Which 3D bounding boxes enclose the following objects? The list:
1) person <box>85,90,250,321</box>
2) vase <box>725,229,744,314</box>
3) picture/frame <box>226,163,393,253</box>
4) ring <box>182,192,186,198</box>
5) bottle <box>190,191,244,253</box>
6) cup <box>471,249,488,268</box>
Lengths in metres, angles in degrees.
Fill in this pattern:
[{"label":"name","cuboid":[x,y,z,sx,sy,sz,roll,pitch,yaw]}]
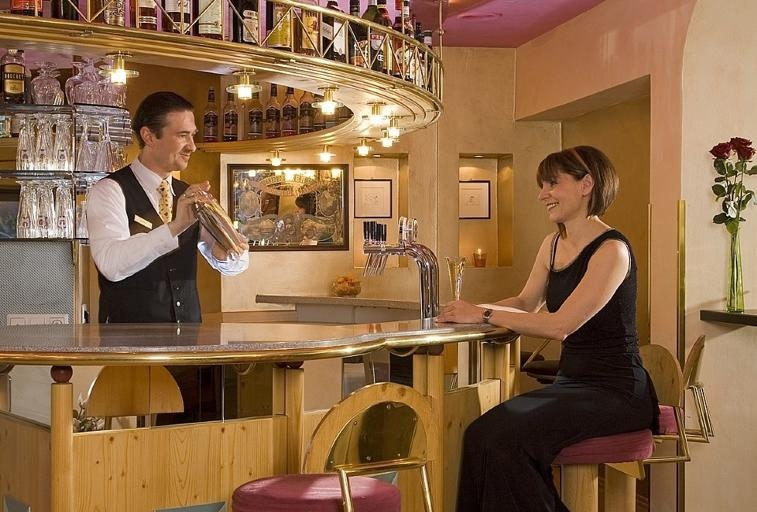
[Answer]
[{"label":"person","cuboid":[-0.963,-0.237,3.157,0.708,1.121,0.529,1,1,28]},{"label":"vase","cuboid":[2.318,0.087,4.326,0.090,0.543,0.153,1,1,28]},{"label":"picture/frame","cuboid":[-0.675,-0.422,5.930,0.945,0.661,0.079,1,-2,-7]},{"label":"ring","cuboid":[-0.807,-0.256,2.799,0.015,0.021,0.006,1,1,-27]},{"label":"bottle","cuboid":[-0.668,-0.135,2.780,0.182,0.257,0.281,0,1,-22]},{"label":"cup","cuboid":[0.939,0.023,6.259,0.147,0.196,0.140,0,-5,0]}]
